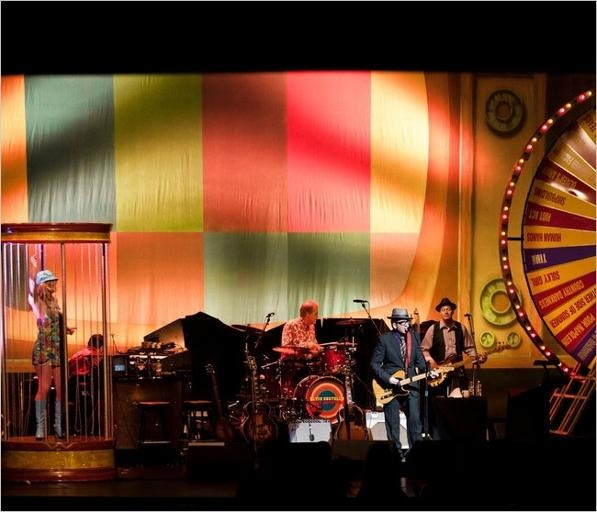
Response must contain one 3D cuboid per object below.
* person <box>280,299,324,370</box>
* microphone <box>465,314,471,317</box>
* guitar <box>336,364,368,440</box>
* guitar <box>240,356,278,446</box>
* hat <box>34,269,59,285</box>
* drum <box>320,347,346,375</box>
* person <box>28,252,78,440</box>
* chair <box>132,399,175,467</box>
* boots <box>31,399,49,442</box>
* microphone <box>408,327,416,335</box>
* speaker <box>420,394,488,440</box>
[{"bbox_3d":[0.012,0.914,9.631,0.538,0.946,0.466,-3,-14,6],"label":"person"},{"bbox_3d":[1.988,0.697,9.702,0.047,0.015,0.048,0,0,39],"label":"microphone"},{"bbox_3d":[0.582,1.668,9.263,0.397,0.790,0.349,-2,-5,-21],"label":"guitar"},{"bbox_3d":[-0.473,1.610,9.215,0.358,0.970,0.428,1,-7,-41],"label":"guitar"},{"bbox_3d":[-2.559,0.218,8.373,0.208,0.135,0.157,-7,4,-5],"label":"hat"},{"bbox_3d":[0.392,1.211,9.451,0.248,0.293,0.266,2,-6,-23],"label":"drum"},{"bbox_3d":[-2.536,0.927,8.313,0.293,1.821,0.557,-2,-5,-19],"label":"person"},{"bbox_3d":[-1.506,1.928,9.060,0.508,0.842,0.556,0,2,-5],"label":"chair"},{"bbox_3d":[-2.572,1.640,8.292,0.115,0.400,0.196,-5,-5,17],"label":"boots"},{"bbox_3d":[1.268,0.846,9.250,0.024,0.073,0.050,-34,-44,29],"label":"microphone"},{"bbox_3d":[1.540,1.548,7.860,0.467,0.560,0.526,0,-5,2],"label":"speaker"}]
